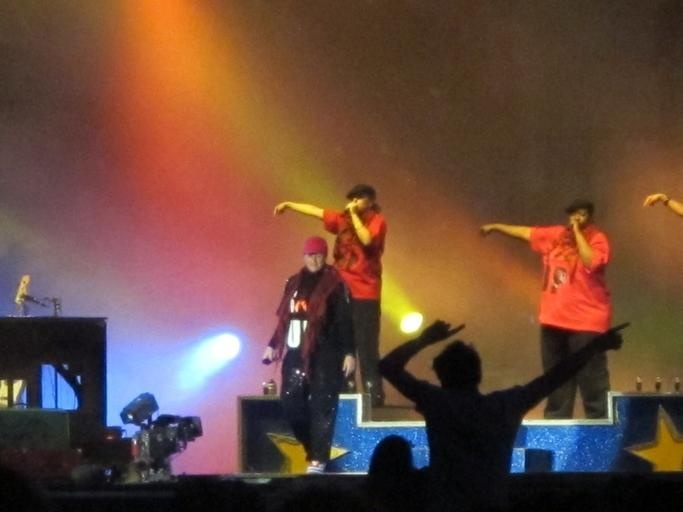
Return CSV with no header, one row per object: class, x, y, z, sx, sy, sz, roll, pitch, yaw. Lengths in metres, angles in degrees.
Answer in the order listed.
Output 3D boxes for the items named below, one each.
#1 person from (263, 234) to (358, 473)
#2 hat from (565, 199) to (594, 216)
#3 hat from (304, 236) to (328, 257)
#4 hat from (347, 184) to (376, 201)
person,-0.240,0.779,7.506,0.716,1.898,0.368,-2,-14,6
hat,2.092,-0.441,8.147,0.168,0.130,0.172,-11,-25,34
hat,-0.206,-0.084,7.699,0.151,0.125,0.161,1,-9,-1
hat,0.200,-0.588,8.481,0.184,0.103,0.155,-1,3,-44
